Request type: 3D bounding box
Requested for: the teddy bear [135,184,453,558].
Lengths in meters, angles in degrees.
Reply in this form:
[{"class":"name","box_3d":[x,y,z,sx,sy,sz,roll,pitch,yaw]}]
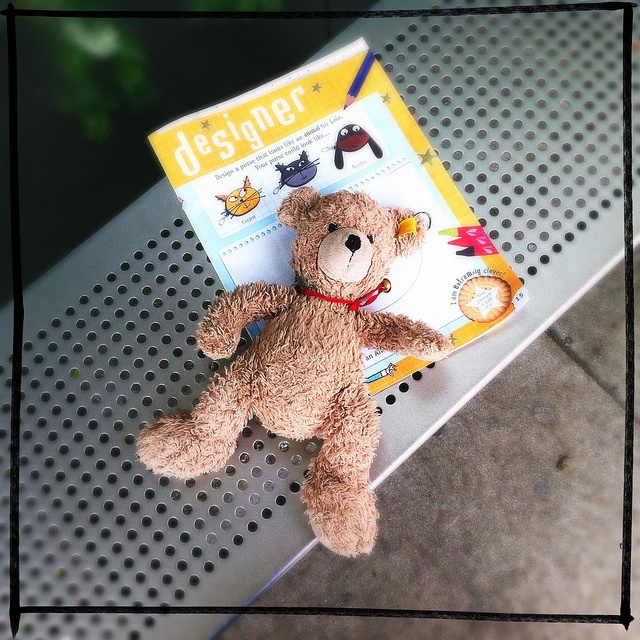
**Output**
[{"class":"teddy bear","box_3d":[-0.004,0.035,0.654,0.263,0.089,0.364,24,82,3]}]
